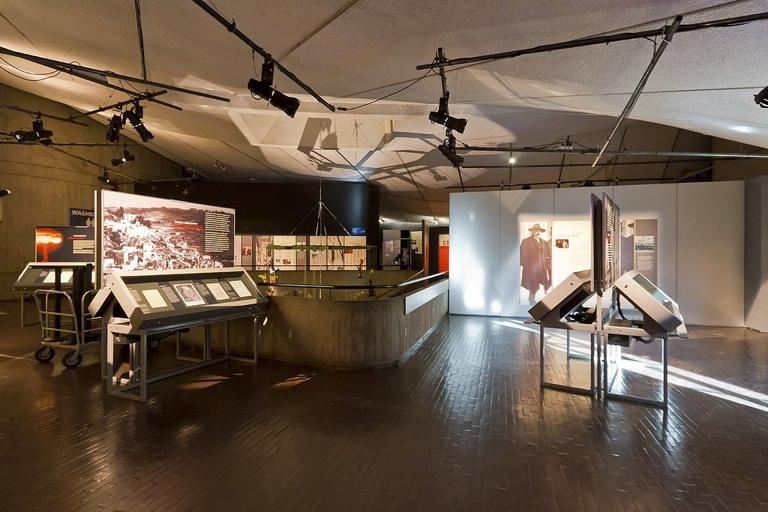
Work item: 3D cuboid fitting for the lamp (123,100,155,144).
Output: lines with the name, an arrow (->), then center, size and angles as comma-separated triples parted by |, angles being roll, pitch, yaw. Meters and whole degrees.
lamp -> -5.675, -3.155, 11.729 | 0.568, 0.980, 1.197 | -2, 3, -27

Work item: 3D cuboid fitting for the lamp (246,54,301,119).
lamp -> -1.906, -2.959, 8.933 | 0.533, 0.887, 0.757 | 1, 3, 39
